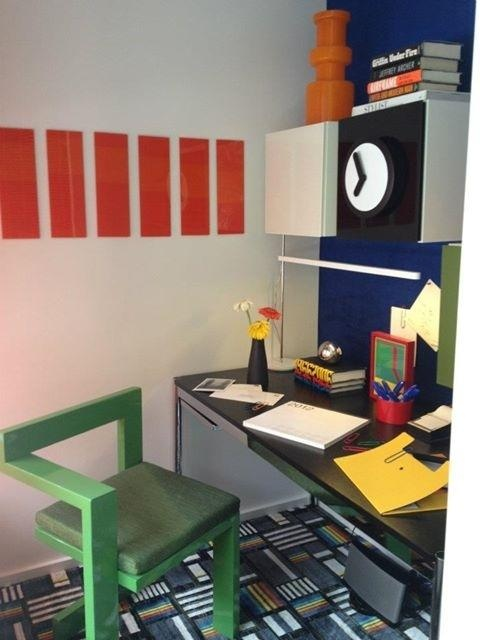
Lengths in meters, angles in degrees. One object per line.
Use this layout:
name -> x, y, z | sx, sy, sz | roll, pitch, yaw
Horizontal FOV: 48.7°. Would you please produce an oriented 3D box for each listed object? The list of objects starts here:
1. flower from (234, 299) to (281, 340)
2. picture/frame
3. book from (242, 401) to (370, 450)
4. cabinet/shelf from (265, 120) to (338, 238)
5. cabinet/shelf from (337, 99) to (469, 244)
flower -> 0.059, -0.009, 2.249 | 0.187, 0.188, 0.161 | 0, 8, 34
picture/frame -> 0.529, 0.159, 1.830 | 0.043, 0.304, 0.209 | -4, 9, -32
book -> 0.210, 0.329, 1.697 | 0.312, 0.022, 0.304 | 6, 10, 39
cabinet/shelf -> 0.237, -0.526, 1.992 | 0.154, 0.436, 0.467 | -3, 10, -23
cabinet/shelf -> 0.480, -0.445, 1.667 | 0.192, 0.393, 0.404 | -8, 14, -24
